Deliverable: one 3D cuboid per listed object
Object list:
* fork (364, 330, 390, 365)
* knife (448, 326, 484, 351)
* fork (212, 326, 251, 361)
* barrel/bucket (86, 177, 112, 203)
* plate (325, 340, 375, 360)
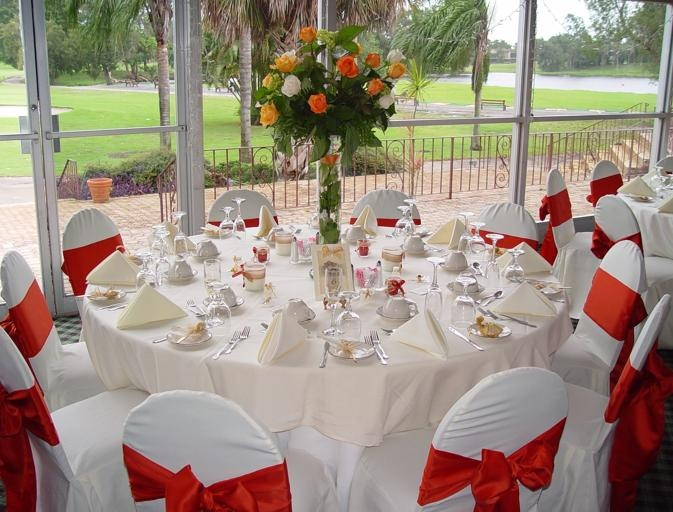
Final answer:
[{"bbox_3d":[0.162,0.369,1.888,0.039,0.021,0.165,-2,29,-7],"label":"fork"},{"bbox_3d":[0.543,0.343,1.987,0.036,0.021,0.278,-15,22,-12],"label":"knife"},{"bbox_3d":[-0.426,0.353,1.930,0.048,0.028,0.177,5,30,15],"label":"fork"},{"bbox_3d":[-2.416,-0.684,4.756,0.199,0.212,0.215,1,19,0],"label":"barrel/bucket"},{"bbox_3d":[0.055,0.366,1.844,0.190,0.057,0.119,-2,10,-3],"label":"plate"}]
